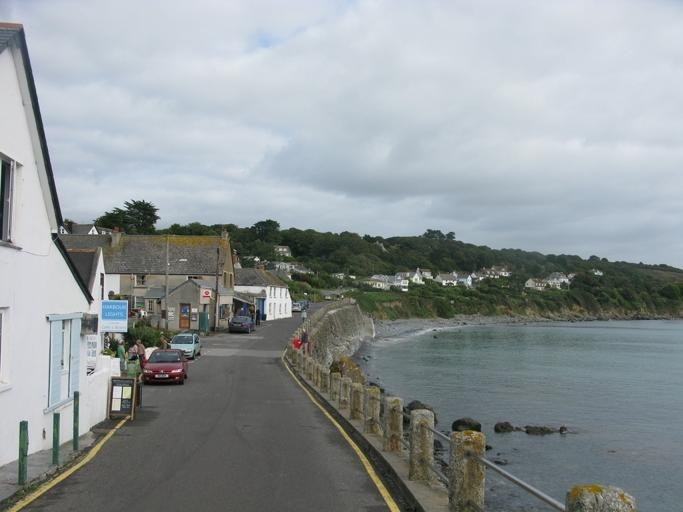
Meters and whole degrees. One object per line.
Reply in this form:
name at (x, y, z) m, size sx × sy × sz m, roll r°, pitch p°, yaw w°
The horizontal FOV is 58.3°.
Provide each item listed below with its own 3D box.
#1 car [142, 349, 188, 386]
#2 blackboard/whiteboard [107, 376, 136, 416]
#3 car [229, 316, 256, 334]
car at (-8.525, 5.336, 29.322) m, size 1.895 × 1.531 × 2.106 m, roll 0°, pitch -5°, yaw -17°
blackboard/whiteboard at (-7.512, 4.813, 20.799) m, size 1.052 × 1.401 × 0.302 m, roll -3°, pitch -4°, yaw 19°
car at (-9.957, 6.881, 61.062) m, size 1.987 × 1.682 × 3.066 m, roll -2°, pitch -5°, yaw 3°
